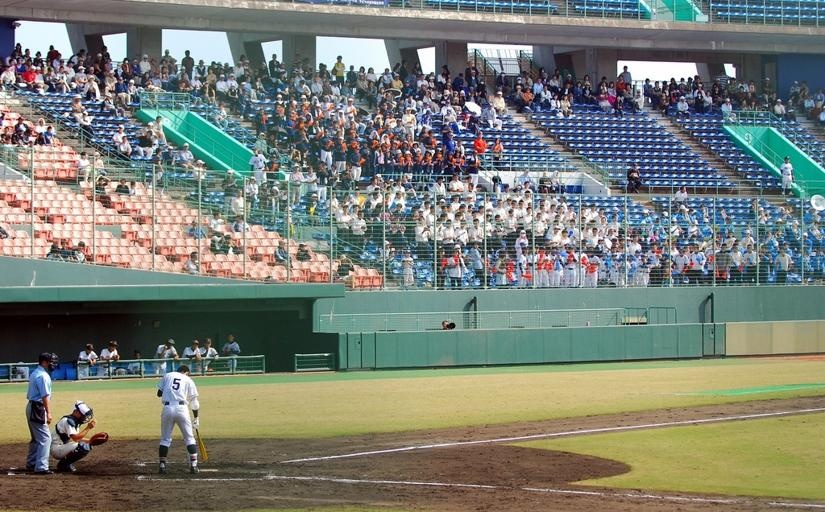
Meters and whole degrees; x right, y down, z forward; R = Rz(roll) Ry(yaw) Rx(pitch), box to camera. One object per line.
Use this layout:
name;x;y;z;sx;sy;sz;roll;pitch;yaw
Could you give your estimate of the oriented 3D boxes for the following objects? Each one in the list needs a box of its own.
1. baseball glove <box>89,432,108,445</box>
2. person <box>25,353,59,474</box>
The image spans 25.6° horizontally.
baseball glove;-9.313;5.345;53.430;0.484;0.183;0.350;-10;20;-25
person;-10.979;4.499;53.293;0.848;3.476;1.277;1;5;-25
